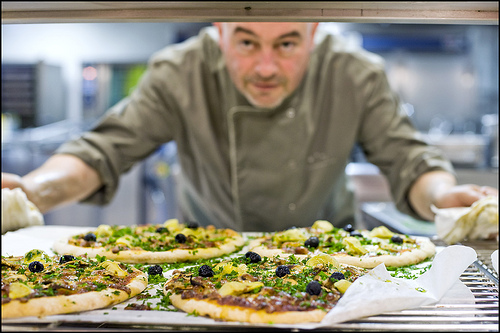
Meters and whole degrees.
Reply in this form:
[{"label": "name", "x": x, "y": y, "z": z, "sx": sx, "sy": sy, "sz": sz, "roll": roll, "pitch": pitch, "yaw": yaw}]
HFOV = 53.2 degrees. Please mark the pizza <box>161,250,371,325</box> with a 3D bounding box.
[{"label": "pizza", "x": 0.082, "y": 0.815, "z": 3.318, "sx": 1.286, "sy": 0.455, "sz": 0.526, "roll": -8, "pitch": -13, "yaw": 8}]
